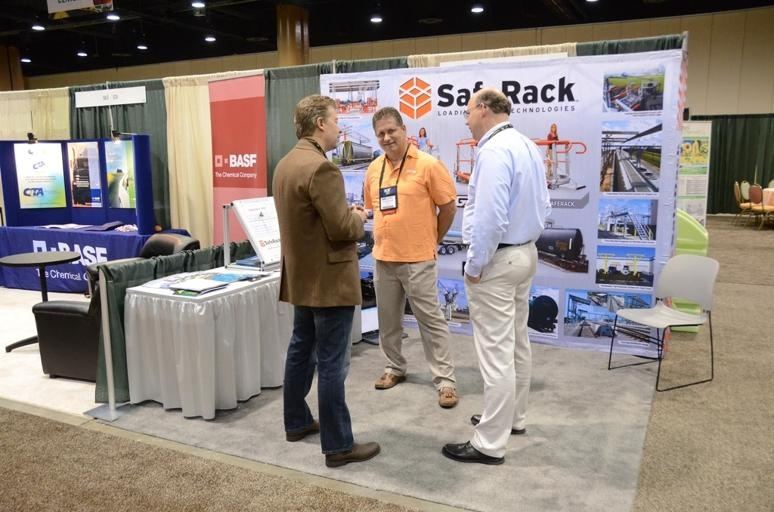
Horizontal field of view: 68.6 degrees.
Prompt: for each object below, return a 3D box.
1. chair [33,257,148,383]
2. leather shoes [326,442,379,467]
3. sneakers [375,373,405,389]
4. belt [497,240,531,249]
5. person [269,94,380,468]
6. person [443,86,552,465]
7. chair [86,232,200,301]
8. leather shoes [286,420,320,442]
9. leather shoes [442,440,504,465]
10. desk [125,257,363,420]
[{"bbox_3d":[-2.524,0.484,5.003,0.666,0.946,0.889,3,12,5],"label":"chair"},{"bbox_3d":[-0.219,1.303,3.748,0.345,0.154,0.136,-9,7,-26],"label":"leather shoes"},{"bbox_3d":[0.017,1.020,4.642,0.093,0.113,0.266,-6,-8,39],"label":"sneakers"},{"bbox_3d":[0.803,-0.068,3.589,0.237,0.042,0.034,-4,9,-21],"label":"belt"},{"bbox_3d":[-0.441,0.175,3.671,0.610,2.374,0.397,4,10,34],"label":"person"},{"bbox_3d":[0.699,0.132,3.710,0.644,2.424,0.453,-9,12,-43],"label":"person"},{"bbox_3d":[-2.161,0.182,4.967,0.809,0.729,0.689,-5,7,-40],"label":"chair"},{"bbox_3d":[-0.580,1.200,4.011,0.102,0.122,0.268,7,12,40],"label":"leather shoes"},{"bbox_3d":[0.556,1.302,3.733,0.347,0.146,0.160,7,-2,10],"label":"leather shoes"},{"bbox_3d":[-1.317,0.660,4.553,0.779,0.741,1.345,1,4,16],"label":"desk"}]
